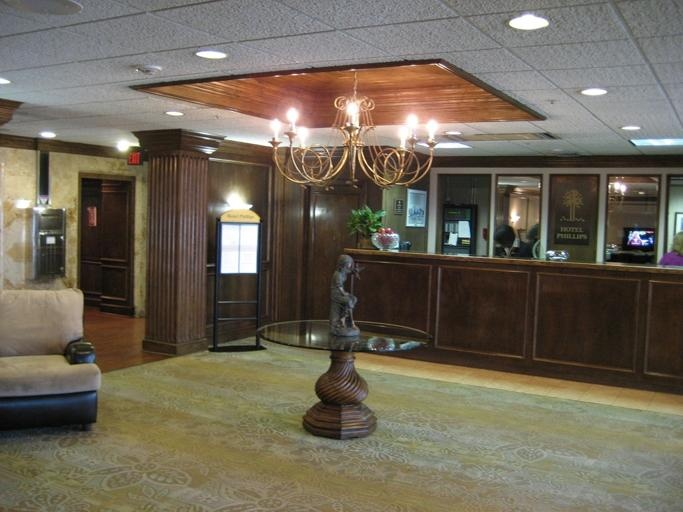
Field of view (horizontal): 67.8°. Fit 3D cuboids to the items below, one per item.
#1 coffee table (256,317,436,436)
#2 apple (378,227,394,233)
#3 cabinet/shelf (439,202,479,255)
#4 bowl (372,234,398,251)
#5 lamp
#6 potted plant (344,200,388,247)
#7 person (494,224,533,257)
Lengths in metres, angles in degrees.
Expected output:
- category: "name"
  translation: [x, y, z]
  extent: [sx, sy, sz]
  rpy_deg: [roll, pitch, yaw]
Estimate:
- category: "coffee table"
  translation: [-0.010, 1.109, 5.090]
  extent: [1.566, 0.648, 1.287]
  rpy_deg: [1, 0, 2]
- category: "apple"
  translation: [0.709, -0.400, 7.989]
  extent: [0.221, 0.061, 0.185]
  rpy_deg: [1, -1, 9]
- category: "cabinet/shelf"
  translation: [2.592, -0.609, 11.028]
  extent: [0.890, 1.051, 0.423]
  rpy_deg: [2, 5, -3]
- category: "bowl"
  translation: [0.693, -0.210, 7.989]
  extent: [0.386, 0.171, 0.316]
  rpy_deg: [1, -3, -1]
- category: "lamp"
  translation: [0.054, -1.334, 6.064]
  extent: [2.033, 0.975, 2.006]
  rpy_deg: [-2, 2, -43]
- category: "potted plant"
  translation: [0.531, -0.537, 8.241]
  extent: [0.914, 0.623, 0.800]
  rpy_deg: [2, 2, 21]
- category: "person"
  translation: [3.572, -0.321, 10.491]
  extent: [0.752, 0.615, 2.319]
  rpy_deg: [4, 4, 16]
